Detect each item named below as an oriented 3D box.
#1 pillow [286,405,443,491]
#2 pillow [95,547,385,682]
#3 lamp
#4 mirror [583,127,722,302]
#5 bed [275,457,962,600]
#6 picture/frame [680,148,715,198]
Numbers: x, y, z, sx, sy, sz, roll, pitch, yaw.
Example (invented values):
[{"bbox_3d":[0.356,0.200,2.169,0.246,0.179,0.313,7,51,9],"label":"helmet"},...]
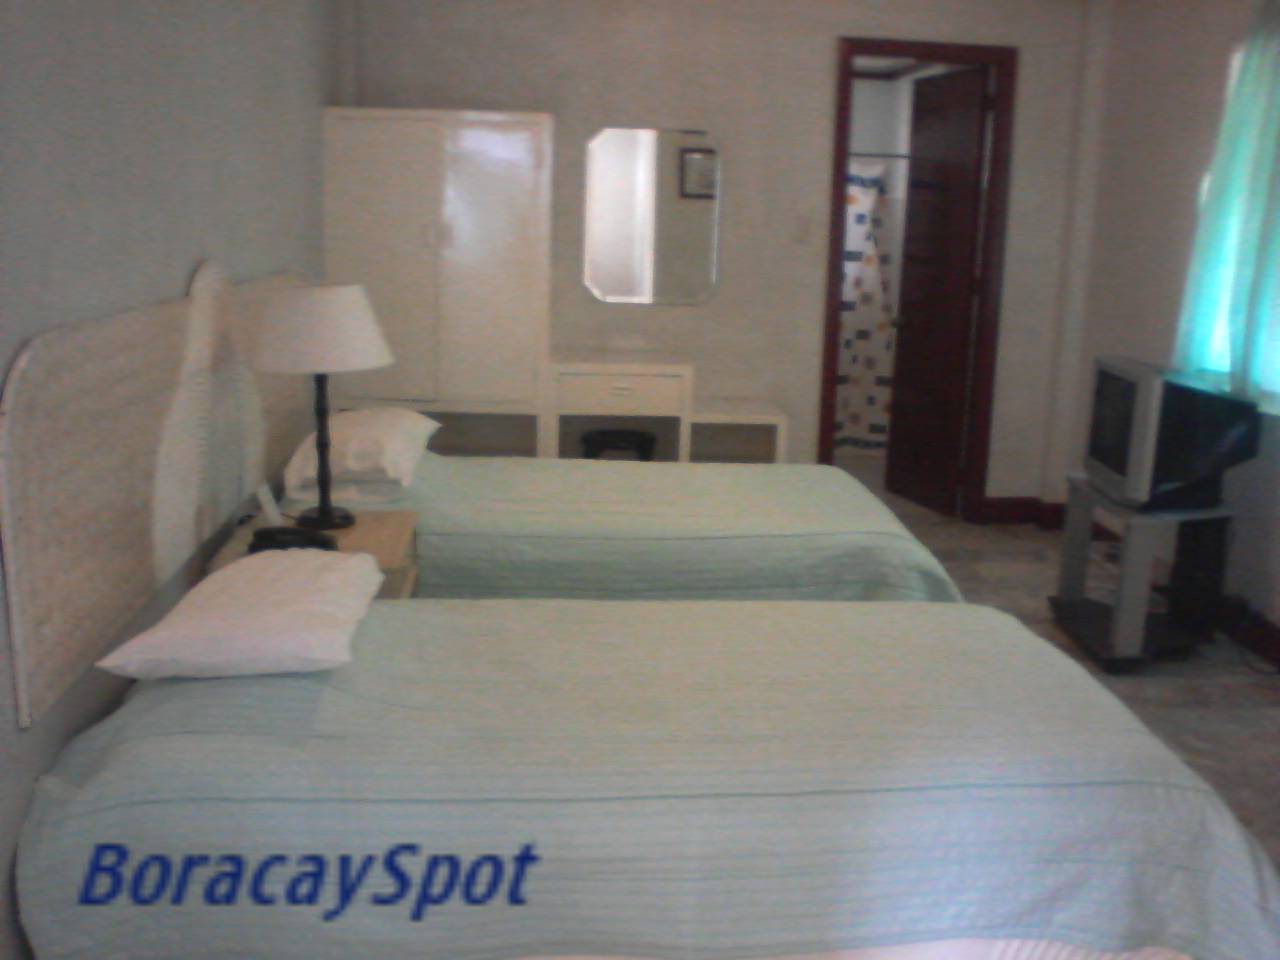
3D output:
[{"bbox_3d":[-0.713,-0.083,2.906,0.217,0.091,0.352,0,15,-1],"label":"pillow"},{"bbox_3d":[-0.647,0.234,1.900,0.254,0.062,0.253,-4,19,-6],"label":"pillow"},{"bbox_3d":[-0.728,-0.165,2.551,0.269,0.547,0.389,-12,21,-35],"label":"lamp"},{"bbox_3d":[0.037,-0.889,3.902,0.463,0.586,0.164,0,17,-3],"label":"mirror"},{"bbox_3d":[0.031,0.127,2.863,1.051,0.206,0.628,-1,21,-4],"label":"bed"},{"bbox_3d":[0.190,-1.034,3.826,0.165,0.210,0.029,0,12,-1],"label":"picture/frame"}]
